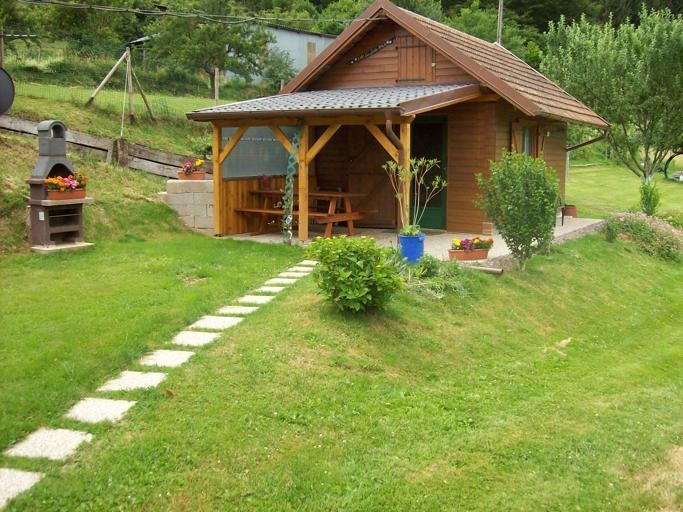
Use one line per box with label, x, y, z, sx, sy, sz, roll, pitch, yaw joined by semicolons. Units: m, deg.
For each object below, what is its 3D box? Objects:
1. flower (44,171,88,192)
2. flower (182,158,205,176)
flower;-5.704;-1.524;13.167;0.722;0.340;0.526;-1;12;-18
flower;-3.791;-2.292;16.404;0.575;0.373;0.714;5;12;36
